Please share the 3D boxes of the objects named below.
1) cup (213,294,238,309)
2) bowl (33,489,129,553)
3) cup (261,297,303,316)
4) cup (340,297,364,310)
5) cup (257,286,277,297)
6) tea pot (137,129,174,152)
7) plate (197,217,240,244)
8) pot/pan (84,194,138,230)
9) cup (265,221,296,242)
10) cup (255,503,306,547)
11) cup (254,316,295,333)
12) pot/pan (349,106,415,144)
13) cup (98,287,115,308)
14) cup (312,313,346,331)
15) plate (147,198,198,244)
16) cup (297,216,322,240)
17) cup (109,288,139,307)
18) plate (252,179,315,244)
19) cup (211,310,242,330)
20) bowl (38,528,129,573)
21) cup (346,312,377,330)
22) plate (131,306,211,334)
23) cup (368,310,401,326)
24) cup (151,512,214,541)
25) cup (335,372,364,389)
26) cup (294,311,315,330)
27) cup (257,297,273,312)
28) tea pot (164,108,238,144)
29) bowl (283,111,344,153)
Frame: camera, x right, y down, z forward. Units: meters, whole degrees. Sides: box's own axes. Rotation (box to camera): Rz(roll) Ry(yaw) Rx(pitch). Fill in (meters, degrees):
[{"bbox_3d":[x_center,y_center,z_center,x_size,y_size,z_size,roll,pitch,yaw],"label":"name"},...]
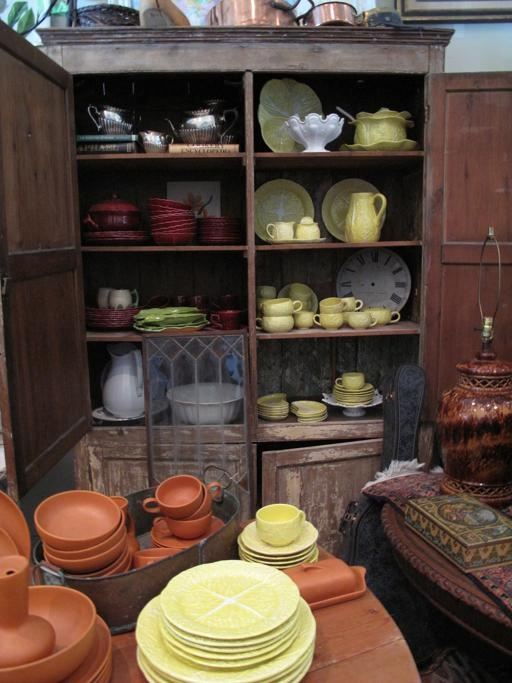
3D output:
[{"bbox_3d":[-0.118,-0.153,2.270,0.103,0.070,0.062,0,8,11],"label":"cup"},{"bbox_3d":[-0.307,0.303,1.054,0.152,0.053,0.113,-7,-24,14],"label":"bowl"},{"bbox_3d":[0.108,-0.130,2.222,0.119,0.047,0.089,2,5,-1],"label":"cup"},{"bbox_3d":[0.392,-0.154,2.405,0.089,0.058,0.058,-3,3,-8],"label":"cup"},{"bbox_3d":[0.037,-0.204,2.370,0.054,0.036,0.053,-2,6,0],"label":"cup"},{"bbox_3d":[-0.362,-0.705,2.057,0.091,0.054,0.079,-6,23,-20],"label":"tea pot"},{"bbox_3d":[-0.140,-0.409,2.162,0.119,0.069,0.117,4,14,18],"label":"plate"},{"bbox_3d":[-0.532,-0.473,2.117,0.159,0.076,0.118,-6,14,-21],"label":"pot/pan"},{"bbox_3d":[0.098,-0.419,2.224,0.128,0.085,0.078,-1,10,7],"label":"cup"},{"bbox_3d":[0.038,0.331,1.067,0.066,0.040,0.081,-3,-3,12],"label":"cup"},{"bbox_3d":[0.072,-0.062,2.210,0.096,0.038,0.074,-3,-1,27],"label":"cup"},{"bbox_3d":[0.461,-0.747,2.108,0.178,0.115,0.171,-6,12,-19],"label":"pot/pan"},{"bbox_3d":[-0.593,-0.172,2.273,0.075,0.086,0.073,1,0,0],"label":"cup"},{"bbox_3d":[0.276,-0.077,2.295,0.093,0.046,0.073,-2,0,35],"label":"cup"},{"bbox_3d":[-0.304,-0.429,2.115,0.182,0.158,0.141,-1,8,10],"label":"plate"},{"bbox_3d":[0.201,-0.418,2.194,0.092,0.088,0.090,-1,0,0],"label":"cup"},{"bbox_3d":[-0.517,-0.170,2.285,0.095,0.064,0.069,3,-1,-37],"label":"cup"},{"bbox_3d":[0.095,-0.524,2.381,0.275,0.261,0.063,-3,15,-15],"label":"plate"},{"bbox_3d":[-0.113,-0.078,2.155,0.104,0.062,0.064,-1,9,-2],"label":"cup"},{"bbox_3d":[-0.248,0.319,0.890,0.078,0.026,0.075,-4,3,0],"label":"bowl"},{"bbox_3d":[0.410,-0.080,2.238,0.092,0.047,0.069,0,2,-14],"label":"cup"},{"bbox_3d":[-0.306,-0.081,2.137,0.281,0.086,0.172,-4,8,-14],"label":"plate"},{"bbox_3d":[0.506,-0.086,2.318,0.106,0.045,0.081,0,1,-3],"label":"cup"},{"bbox_3d":[-0.136,0.330,1.056,0.085,0.029,0.054,-4,-5,10],"label":"cup"},{"bbox_3d":[0.377,0.159,2.390,0.091,0.039,0.066,-5,-3,11],"label":"cup"},{"bbox_3d":[0.186,-0.079,2.292,0.073,0.056,0.075,-1,2,0],"label":"cup"},{"bbox_3d":[0.033,-0.148,2.302,0.056,0.037,0.049,-14,17,-18],"label":"cup"},{"bbox_3d":[-0.191,-0.790,2.141,0.245,0.105,0.147,-1,7,6],"label":"tea pot"},{"bbox_3d":[0.209,-0.718,2.117,0.181,0.103,0.175,-1,5,0],"label":"bowl"}]
